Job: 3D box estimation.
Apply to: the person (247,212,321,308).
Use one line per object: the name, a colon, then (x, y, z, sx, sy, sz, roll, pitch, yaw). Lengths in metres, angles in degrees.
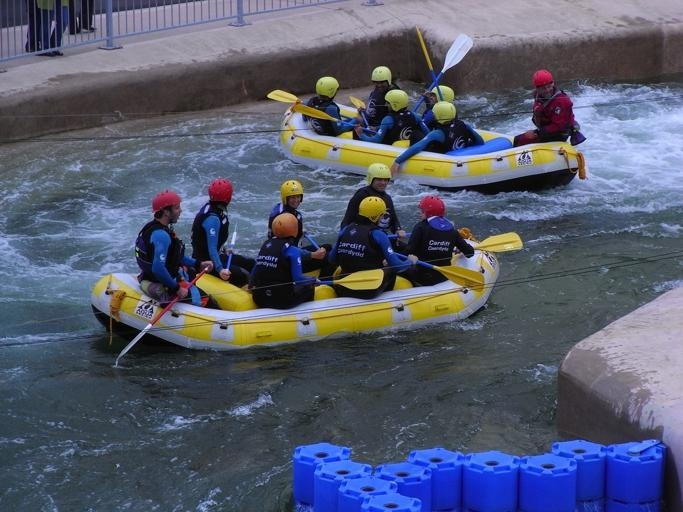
person: (-0.640, 0.053, 10.782, 0.716, 1.028, 0.277, -2, 12, -2)

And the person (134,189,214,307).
person: (-1.857, -0.070, 10.670, 0.661, 1.262, 0.654, 1, 12, 15)

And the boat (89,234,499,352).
boat: (-0.464, 0.379, 10.786, 3.450, 0.386, 1.337, -4, 15, -11)

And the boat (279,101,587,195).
boat: (1.291, -1.450, 14.880, 3.713, 0.415, 1.478, 7, 26, 14)

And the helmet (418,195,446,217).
helmet: (1.060, -0.587, 11.389, 0.292, 0.153, 0.295, 0, 32, -14)

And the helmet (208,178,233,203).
helmet: (-1.379, -0.742, 11.075, 0.337, 0.241, 0.340, 7, 15, 19)

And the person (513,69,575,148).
person: (2.996, -2.153, 14.604, 0.818, 1.094, 0.399, 5, 14, 32)

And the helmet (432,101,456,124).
helmet: (1.538, -2.108, 14.713, 0.334, 0.337, 0.337, -1, 10, 5)

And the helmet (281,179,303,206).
helmet: (-0.522, -0.737, 11.422, 0.362, 0.244, 0.378, -4, 13, -13)

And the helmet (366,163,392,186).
helmet: (0.499, -0.994, 11.972, 0.335, 0.208, 0.371, -2, 7, -24)

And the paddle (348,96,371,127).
paddle: (0.317, -2.408, 16.290, 0.298, 0.092, 0.986, -17, 24, -6)

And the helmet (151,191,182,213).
helmet: (-1.821, -0.562, 10.378, 0.397, 0.158, 0.225, -2, 27, -4)
